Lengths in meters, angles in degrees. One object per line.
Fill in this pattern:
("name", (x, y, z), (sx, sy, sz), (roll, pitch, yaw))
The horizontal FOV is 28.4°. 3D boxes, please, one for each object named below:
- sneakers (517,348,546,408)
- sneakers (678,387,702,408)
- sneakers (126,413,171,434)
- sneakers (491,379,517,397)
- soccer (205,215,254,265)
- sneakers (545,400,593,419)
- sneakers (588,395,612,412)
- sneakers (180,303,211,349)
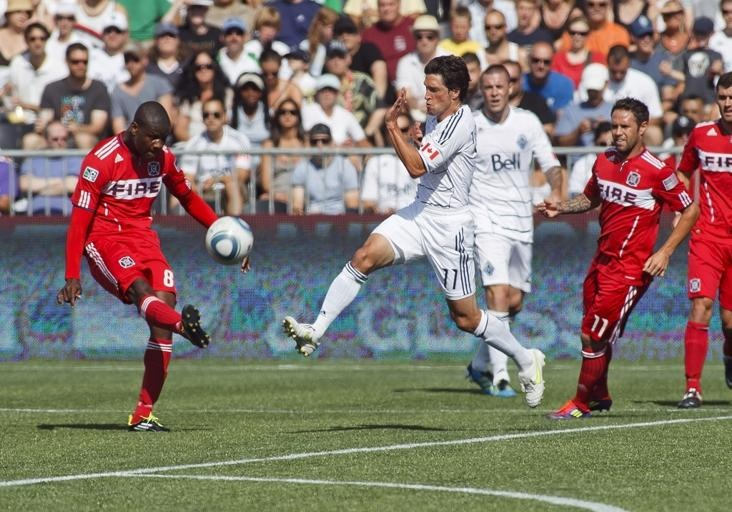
("sneakers", (1.566, 1.188, 13.896), (0.289, 0.626, 0.218), (2, -6, -41))
("sneakers", (3.288, 1.436, 14.605), (0.155, 0.151, 0.377), (-2, -5, 18))
("sneakers", (-2.031, 1.575, 13.523), (0.435, 0.191, 0.152), (1, -1, -5))
("sneakers", (1.513, 1.433, 15.717), (0.201, 0.126, 0.199), (1, -3, -43))
("soccer", (-1.257, -0.147, 13.962), (0.445, 0.463, 0.441), (-2, -3, 14))
("sneakers", (1.951, 1.486, 13.895), (0.439, 0.194, 0.164), (0, -5, -6))
("sneakers", (2.319, 1.461, 14.207), (0.125, 0.087, 0.212), (4, -8, -41))
("sneakers", (-1.553, 0.622, 12.953), (0.199, 0.482, 0.202), (-1, 25, 33))
